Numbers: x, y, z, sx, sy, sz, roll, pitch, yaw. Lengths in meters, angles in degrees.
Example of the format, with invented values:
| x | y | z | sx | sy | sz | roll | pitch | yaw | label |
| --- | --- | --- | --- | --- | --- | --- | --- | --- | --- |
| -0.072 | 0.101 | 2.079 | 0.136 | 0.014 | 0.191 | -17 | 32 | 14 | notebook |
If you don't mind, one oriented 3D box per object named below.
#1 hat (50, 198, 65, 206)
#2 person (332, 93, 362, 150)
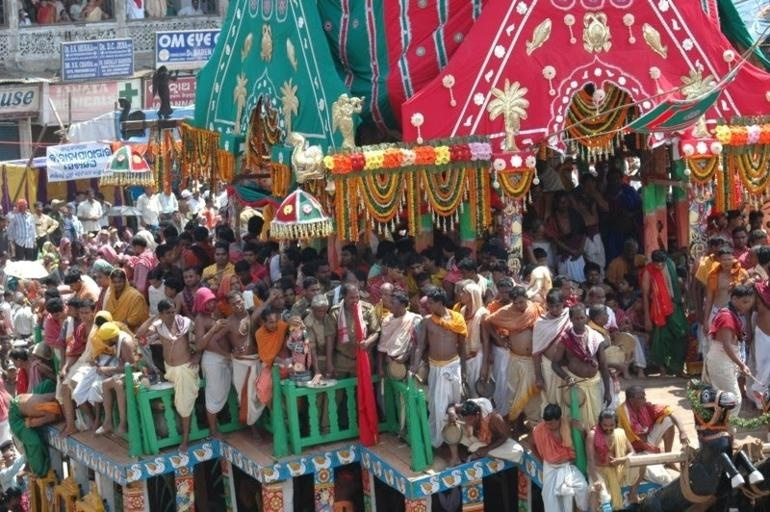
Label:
| x | y | z | sx | sy | sz | roll | pitch | yaw | label |
| --- | --- | --- | --- | --- | --- | --- | --- | --- | --- |
| -7.876 | -1.237 | 31.617 | 0.273 | 0.114 | 0.325 | -17 | 0 | 1 | hat |
| -0.646 | -2.161 | 21.620 | 0.506 | 0.763 | 0.574 | -1 | 25 | 2 | person |
